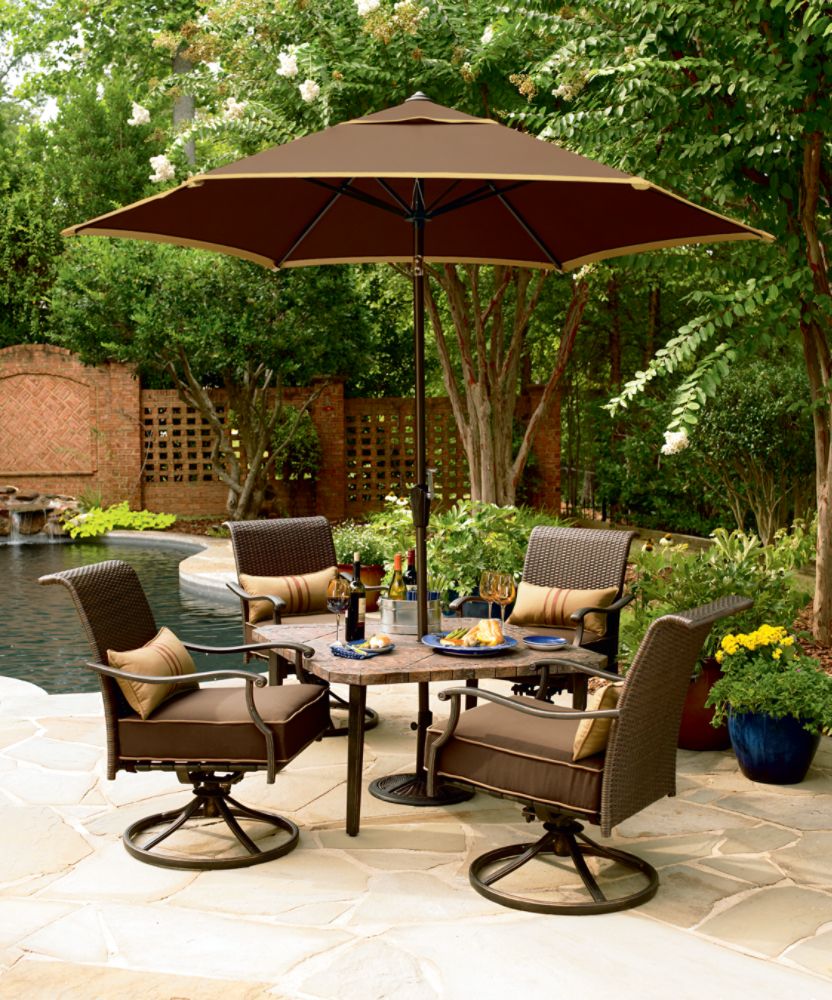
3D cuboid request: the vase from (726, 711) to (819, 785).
[{"bbox_3d":[1.497,1.053,4.399,0.384,0.235,0.333,1,0,-3],"label":"vase"}]
